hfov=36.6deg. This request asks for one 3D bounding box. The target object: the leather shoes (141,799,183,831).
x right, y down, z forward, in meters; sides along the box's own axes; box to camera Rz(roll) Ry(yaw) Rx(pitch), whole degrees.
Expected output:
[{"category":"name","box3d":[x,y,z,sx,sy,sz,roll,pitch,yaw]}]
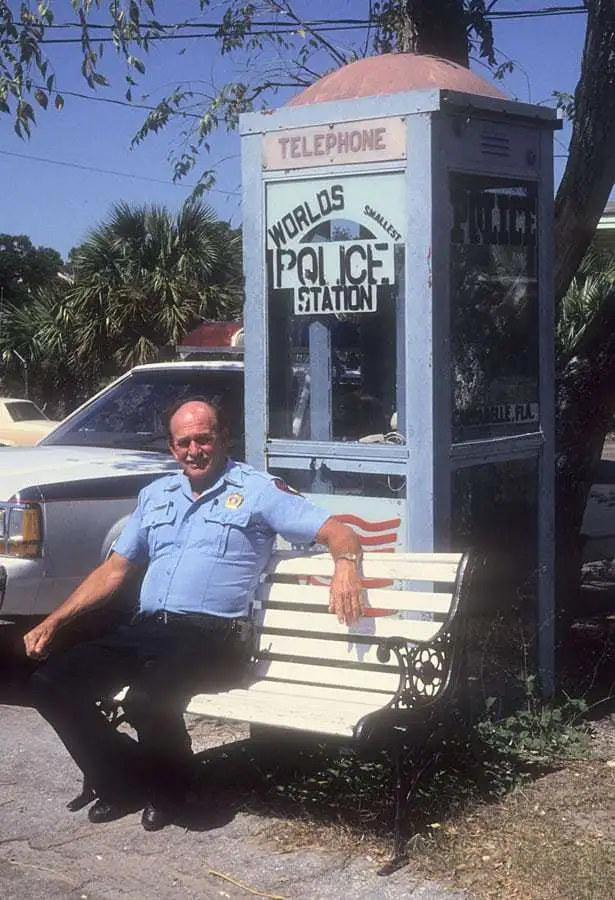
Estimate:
[{"category":"leather shoes","box3d":[-0.490,1.224,3.169,0.082,0.102,0.141,8,-5,18]}]

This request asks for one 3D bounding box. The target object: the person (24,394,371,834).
[{"category":"person","box3d":[-0.392,0.662,3.505,1.355,1.647,0.843,-1,-10,30]}]

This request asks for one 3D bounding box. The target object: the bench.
[{"category":"bench","box3d":[0.111,0.794,3.193,0.811,0.844,0.808,0,5,34]}]
